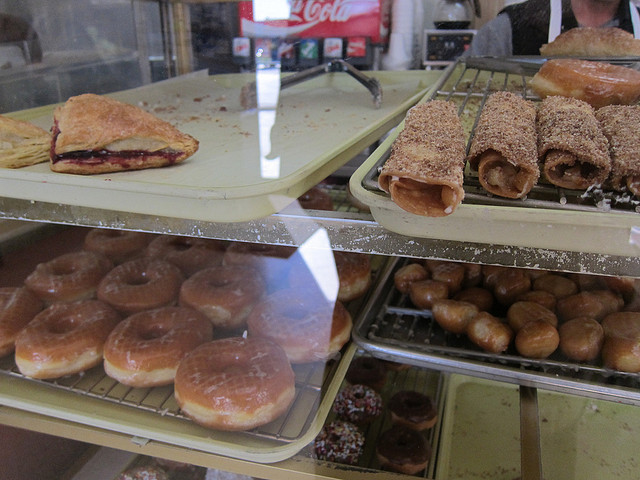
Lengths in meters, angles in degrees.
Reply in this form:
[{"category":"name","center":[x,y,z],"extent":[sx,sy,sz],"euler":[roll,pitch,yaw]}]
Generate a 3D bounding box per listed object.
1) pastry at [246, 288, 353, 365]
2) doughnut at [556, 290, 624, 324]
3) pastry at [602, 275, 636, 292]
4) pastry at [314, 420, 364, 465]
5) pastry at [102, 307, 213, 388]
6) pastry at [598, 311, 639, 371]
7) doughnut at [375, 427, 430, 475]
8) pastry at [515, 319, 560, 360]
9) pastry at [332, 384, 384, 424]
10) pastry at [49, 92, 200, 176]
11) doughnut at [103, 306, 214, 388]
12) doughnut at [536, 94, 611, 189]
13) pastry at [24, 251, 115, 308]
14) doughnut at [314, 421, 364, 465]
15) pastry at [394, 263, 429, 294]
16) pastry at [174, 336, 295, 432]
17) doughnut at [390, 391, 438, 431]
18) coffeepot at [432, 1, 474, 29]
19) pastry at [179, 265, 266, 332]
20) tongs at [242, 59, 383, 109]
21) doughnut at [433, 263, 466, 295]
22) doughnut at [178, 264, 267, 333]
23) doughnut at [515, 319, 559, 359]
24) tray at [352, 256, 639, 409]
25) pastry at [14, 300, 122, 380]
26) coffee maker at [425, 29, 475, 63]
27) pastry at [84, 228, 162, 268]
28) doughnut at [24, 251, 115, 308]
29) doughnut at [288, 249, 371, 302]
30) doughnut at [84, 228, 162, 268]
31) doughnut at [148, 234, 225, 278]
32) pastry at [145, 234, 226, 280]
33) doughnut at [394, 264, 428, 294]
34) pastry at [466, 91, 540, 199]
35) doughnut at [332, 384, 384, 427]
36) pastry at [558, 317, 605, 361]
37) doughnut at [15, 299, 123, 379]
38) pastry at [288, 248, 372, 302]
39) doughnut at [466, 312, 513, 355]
[{"category":"pastry","center":[-0.045,0.181,1.188],"extent":[0.206,0.066,0.193],"euler":[-12,27,-23]},{"category":"doughnut","center":[0.563,0.139,1.112],"extent":[0.117,0.038,0.054],"euler":[-8,48,22]},{"category":"pastry","center":[0.601,0.088,1.071],"extent":[0.063,0.018,0.058],"euler":[-2,14,-5]},{"category":"pastry","center":[0.033,0.452,1.187],"extent":[0.091,0.032,0.090],"euler":[5,28,4]},{"category":"pastry","center":[-0.361,0.226,1.195],"extent":[0.196,0.063,0.186],"euler":[-20,36,-36]},{"category":"pastry","center":[0.598,0.200,1.060],"extent":[0.110,0.031,0.105],"euler":[-4,32,25]},{"category":"doughnut","center":[0.184,0.466,1.177],"extent":[0.115,0.035,0.112],"euler":[-17,33,-29]},{"category":"pastry","center":[0.451,0.198,1.125],"extent":[0.112,0.053,0.093],"euler":[-3,38,12]},{"category":"pastry","center":[0.094,0.389,1.285],"extent":[0.097,0.037,0.100],"euler":[20,44,35]},{"category":"pastry","center":[-0.384,-0.203,1.049],"extent":[0.237,0.073,0.169],"euler":[0,35,-11]},{"category":"doughnut","center":[-0.368,0.232,1.186],"extent":[0.196,0.063,0.185],"euler":[10,27,17]},{"category":"doughnut","center":[0.462,-0.173,0.977],"extent":[0.123,0.074,0.207],"euler":[4,39,15]},{"category":"pastry","center":[-0.656,0.097,1.368],"extent":[0.192,0.063,0.189],"euler":[13,29,22]},{"category":"doughnut","center":[0.038,0.447,1.165],"extent":[0.110,0.042,0.114],"euler":[0,17,-1]},{"category":"pastry","center":[0.221,0.084,1.347],"extent":[0.080,0.065,0.073],"euler":[20,20,15]},{"category":"pastry","center":[-0.180,0.302,1.133],"extent":[0.238,0.112,0.173],"euler":[-4,29,-8]},{"category":"doughnut","center":[0.220,0.401,1.259],"extent":[0.118,0.037,0.105],"euler":[-7,22,-31]},{"category":"coffeepot","center":[0.290,-0.482,1.159],"extent":[0.065,0.053,0.061],"euler":[7,18,26]},{"category":"pastry","center":[-0.243,0.123,1.306],"extent":[0.206,0.068,0.180],"euler":[-16,36,-20]},{"category":"tongs","center":[-0.027,-0.348,1.183],"extent":[0.358,0.096,0.052],"euler":[-6,49,-5]},{"category":"doughnut","center":[0.324,0.089,1.317],"extent":[0.082,0.064,0.077],"euler":[1,15,16]},{"category":"doughnut","center":[-0.221,0.127,1.267],"extent":[0.184,0.063,0.187],"euler":[25,41,34]},{"category":"doughnut","center":[0.444,0.204,1.093],"extent":[0.081,0.041,0.073],"euler":[-14,49,14]},{"category":"tray","center":[0.316,0.201,1.093],"extent":[0.566,0.069,0.322],"euler":[5,30,13]},{"category":"pastry","center":[-0.601,0.221,1.265],"extent":[0.238,0.078,0.218],"euler":[-23,37,-34]},{"category":"coffee maker","center":[0.299,-0.435,1.207],"extent":[0.117,0.069,0.060],"euler":[0,13,5]},{"category":"pastry","center":[-0.546,0.010,1.409],"extent":[0.174,0.054,0.157],"euler":[6,16,-3]},{"category":"doughnut","center":[-0.627,0.093,1.334],"extent":[0.174,0.056,0.163],"euler":[9,25,19]},{"category":"doughnut","center":[0.073,0.080,1.310],"extent":[0.113,0.035,0.110],"euler":[-25,33,-10]},{"category":"doughnut","center":[-0.515,0.008,1.359],"extent":[0.142,0.044,0.134],"euler":[9,17,24]},{"category":"doughnut","center":[-0.336,0.031,1.313],"extent":[0.147,0.044,0.140],"euler":[-13,28,-33]},{"category":"pastry","center":[-0.331,0.033,1.323],"extent":[0.148,0.044,0.146],"euler":[18,26,36]},{"category":"doughnut","center":[0.215,0.090,1.299],"extent":[0.076,0.071,0.063],"euler":[29,63,-19]},{"category":"pastry","center":[0.340,-0.147,1.000],"extent":[0.119,0.076,0.244],"euler":[23,25,7]},{"category":"doughnut","center":[0.098,0.396,1.293],"extent":[0.117,0.042,0.119],"euler":[1,27,28]},{"category":"pastry","center":[0.533,0.203,1.086],"extent":[0.084,0.058,0.077],"euler":[7,30,11]},{"category":"doughnut","center":[-0.628,0.226,1.263],"extent":[0.231,0.074,0.201],"euler":[10,23,30]},{"category":"pastry","center":[0.031,0.076,1.219],"extent":[0.157,0.047,0.163],"euler":[18,26,39]},{"category":"doughnut","center":[0.365,0.199,1.146],"extent":[0.084,0.052,0.095],"euler":[-23,31,-11]}]
